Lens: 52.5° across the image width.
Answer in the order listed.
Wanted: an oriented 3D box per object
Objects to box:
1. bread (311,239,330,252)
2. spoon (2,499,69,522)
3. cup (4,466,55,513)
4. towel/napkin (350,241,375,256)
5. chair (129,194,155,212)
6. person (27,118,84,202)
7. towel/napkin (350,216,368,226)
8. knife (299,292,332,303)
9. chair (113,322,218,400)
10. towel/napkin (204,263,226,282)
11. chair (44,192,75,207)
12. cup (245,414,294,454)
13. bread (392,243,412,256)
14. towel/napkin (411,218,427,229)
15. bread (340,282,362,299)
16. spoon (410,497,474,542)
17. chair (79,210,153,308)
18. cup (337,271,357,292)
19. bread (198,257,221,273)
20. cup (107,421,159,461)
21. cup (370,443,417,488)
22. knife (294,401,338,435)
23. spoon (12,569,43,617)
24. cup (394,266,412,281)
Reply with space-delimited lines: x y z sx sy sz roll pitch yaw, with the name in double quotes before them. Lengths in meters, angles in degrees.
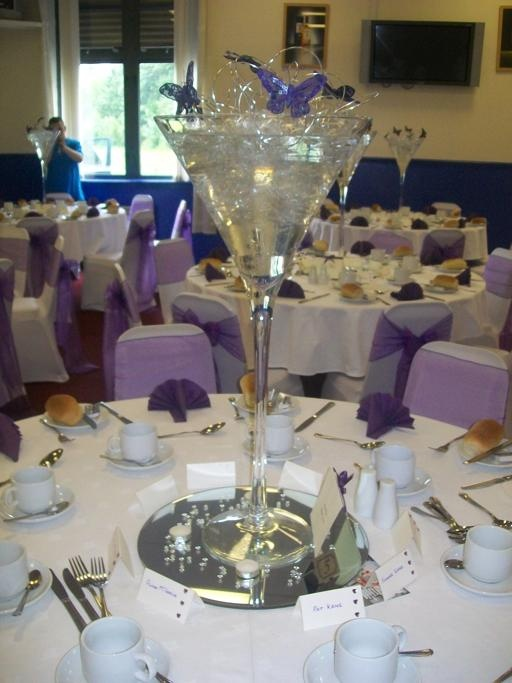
"bread" 0.435 -0.644 3.493 0.085 0.068 0.115 0 5 5
"spoon" -0.351 0.270 0.825 0.075 0.013 0.019 -13 48 -16
"cup" -0.352 0.238 0.836 0.069 0.059 0.057 2 27 -1
"towel/napkin" 0.738 -0.649 3.613 0.147 0.106 0.269 3 10 10
"chair" -1.342 -1.629 6.117 0.233 0.225 0.381 -3 11 -19
"person" -2.410 -2.256 6.430 0.475 0.879 1.153 -2 10 -17
"towel/napkin" 0.916 -1.073 4.605 0.146 0.103 0.194 1 10 -1
"knife" 0.295 -0.220 2.580 0.184 0.027 0.010 -21 9 -34
"chair" -0.297 0.014 1.731 0.234 0.363 0.275 -2 12 -14
"towel/napkin" -0.223 -0.372 2.910 0.085 0.105 0.120 -7 57 27
"chair" -2.404 -1.744 6.290 0.351 0.212 0.496 3 17 -8
"cup" 0.033 0.188 1.104 0.096 0.080 0.093 -2 22 1
"bread" 0.976 -0.601 3.451 0.151 0.067 0.085 9 13 37
"towel/napkin" 1.435 -1.033 4.549 0.137 0.097 0.252 6 11 27
"bread" 0.473 -0.257 2.564 0.079 0.068 0.087 -19 24 -23
"spoon" 0.306 0.276 0.827 0.036 0.012 0.081 -11 20 -19
"chair" -1.289 -0.760 4.797 0.575 1.026 0.657 14 32 5
"cup" 0.488 -0.342 2.805 0.090 0.132 0.090 2 26 -1
"bread" -0.261 -0.448 3.022 0.102 0.056 0.131 2 29 -2
"cup" -0.238 0.198 1.006 0.075 0.063 0.062 3 31 1
"cup" 0.244 0.219 0.925 0.059 0.065 0.085 -4 18 0
"knife" 0.152 0.162 1.270 0.035 0.013 0.311 18 14 19
"spoon" -0.272 0.302 0.618 0.015 0.011 0.074 7 15 -7
"cup" 0.806 -0.385 2.851 0.072 0.069 0.082 -3 18 -1
